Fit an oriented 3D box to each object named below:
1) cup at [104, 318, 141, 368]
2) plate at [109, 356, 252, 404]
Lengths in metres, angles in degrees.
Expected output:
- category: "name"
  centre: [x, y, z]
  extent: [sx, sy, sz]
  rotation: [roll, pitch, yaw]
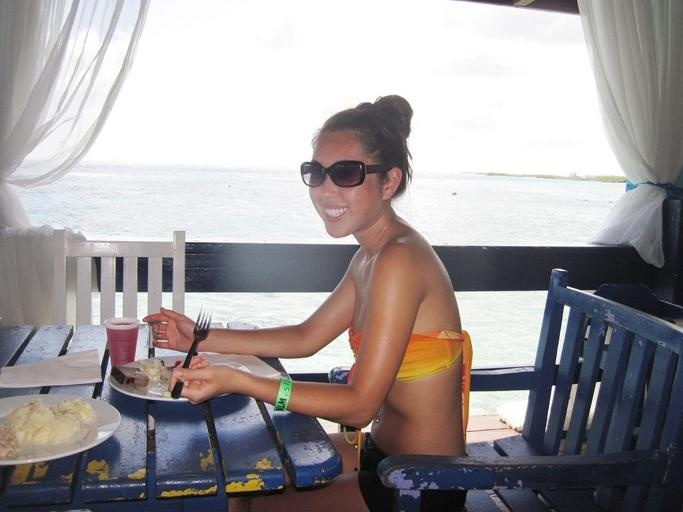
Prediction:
- category: "cup"
  centre: [-0.648, 0.249, 1.552]
  extent: [0.126, 0.138, 0.124]
  rotation: [-3, 2, 0]
- category: "plate"
  centre: [-0.460, 0.322, 1.349]
  extent: [0.321, 0.045, 0.320]
  rotation: [8, -3, -32]
